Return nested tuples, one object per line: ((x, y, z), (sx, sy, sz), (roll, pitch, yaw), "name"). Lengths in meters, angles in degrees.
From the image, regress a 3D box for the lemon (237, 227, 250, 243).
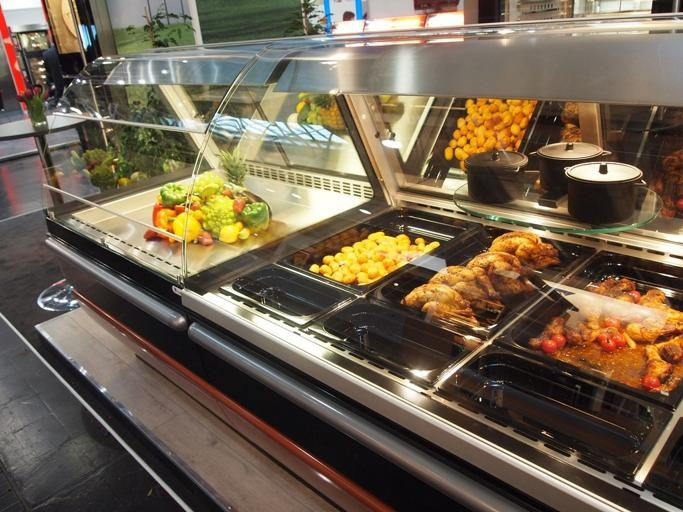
((-0.370, -0.084, 1.617), (0.060, 0.030, 0.044), (5, 64, 13), "lemon")

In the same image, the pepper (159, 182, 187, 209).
((-0.727, -0.268, 1.902), (0.166, 0.126, 0.109), (-3, 78, -5), "pepper")

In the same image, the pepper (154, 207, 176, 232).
((-0.771, -0.159, 1.833), (0.088, 0.068, 0.112), (-12, 14, 6), "pepper")

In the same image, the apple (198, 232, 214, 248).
((-0.536, -0.063, 1.679), (0.059, 0.034, 0.061), (-25, 49, -2), "apple")

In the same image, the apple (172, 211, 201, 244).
((-0.620, -0.114, 1.682), (0.093, 0.084, 0.131), (-43, 68, -13), "apple")

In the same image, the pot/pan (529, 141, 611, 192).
((0.605, -0.258, 1.135), (0.217, 0.101, 0.158), (4, 29, 28), "pot/pan")
